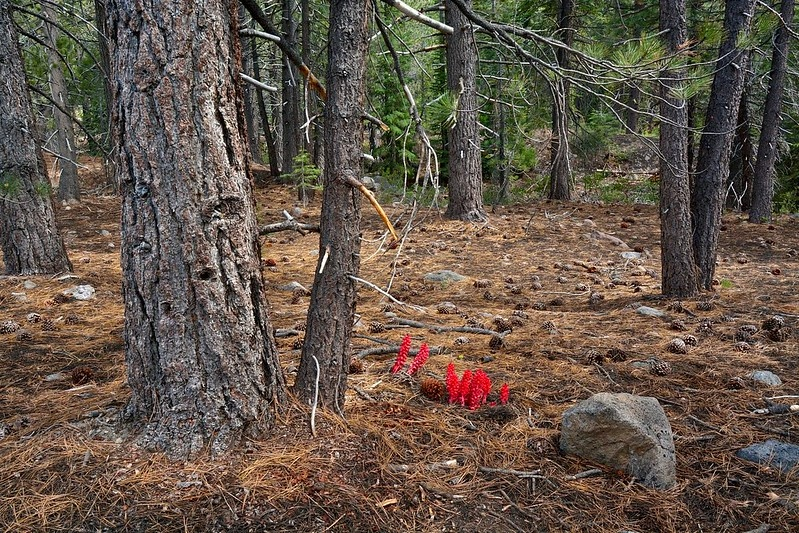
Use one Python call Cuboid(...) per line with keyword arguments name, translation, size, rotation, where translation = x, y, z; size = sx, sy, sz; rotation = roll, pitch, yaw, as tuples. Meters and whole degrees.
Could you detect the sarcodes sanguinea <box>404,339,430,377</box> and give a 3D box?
Cuboid(name="sarcodes sanguinea", translation=(0.196, 0.990, 8.277), size=(0.239, 0.375, 0.365), rotation=(-1, 11, 6))
